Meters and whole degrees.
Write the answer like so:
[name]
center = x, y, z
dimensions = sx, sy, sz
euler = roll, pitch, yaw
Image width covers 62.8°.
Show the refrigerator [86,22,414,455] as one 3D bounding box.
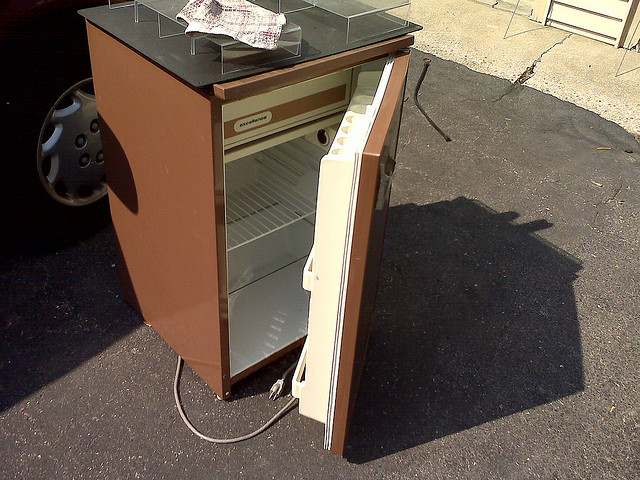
[refrigerator]
center = -0.257, -0.079, 2.445
dimensions = 1.594, 1.489, 0.940
euler = 33, 48, 24
